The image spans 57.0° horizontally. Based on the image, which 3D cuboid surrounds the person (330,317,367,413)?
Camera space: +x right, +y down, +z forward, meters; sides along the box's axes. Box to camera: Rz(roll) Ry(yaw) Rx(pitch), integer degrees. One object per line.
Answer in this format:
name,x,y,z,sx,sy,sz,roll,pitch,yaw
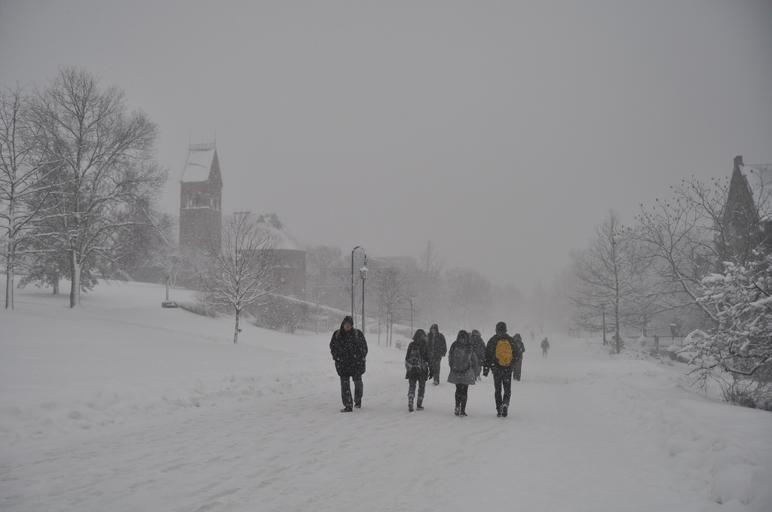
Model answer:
person,-1.209,3.402,22.552,1.068,3.100,0.877,-4,6,-32
